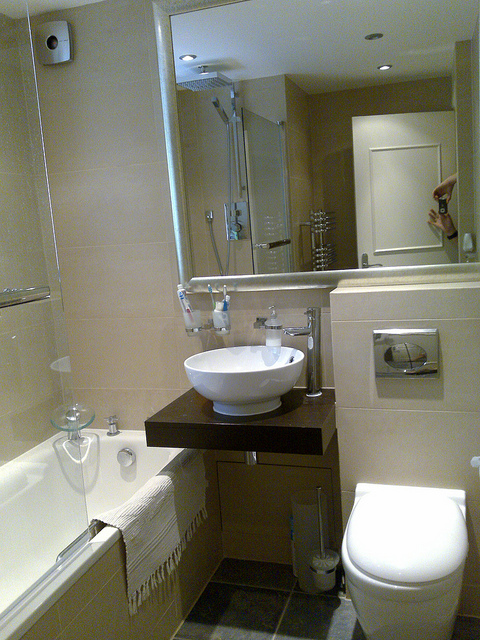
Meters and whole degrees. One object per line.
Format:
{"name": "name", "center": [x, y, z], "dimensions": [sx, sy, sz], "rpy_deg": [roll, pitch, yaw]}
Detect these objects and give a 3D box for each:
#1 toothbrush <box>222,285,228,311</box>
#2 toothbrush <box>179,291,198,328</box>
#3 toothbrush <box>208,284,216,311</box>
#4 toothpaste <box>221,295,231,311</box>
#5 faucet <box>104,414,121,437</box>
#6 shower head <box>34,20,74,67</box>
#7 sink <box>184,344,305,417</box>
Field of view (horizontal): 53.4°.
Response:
{"name": "toothbrush", "center": [-0.056, -0.078, 1.776], "dimensions": [0.018, 0.090, 0.039], "rpy_deg": [-4, 10, 10]}
{"name": "toothbrush", "center": [-0.183, -0.031, 1.786], "dimensions": [0.028, 0.197, 0.019], "rpy_deg": [-25, 45, -3]}
{"name": "toothbrush", "center": [-0.109, -0.090, 1.863], "dimensions": [0.025, 0.133, 0.013], "rpy_deg": [-16, 30, -21]}
{"name": "toothpaste", "center": [-0.043, -0.068, 1.809], "dimensions": [0.034, 0.051, 0.051], "rpy_deg": [-4, 14, 6]}
{"name": "faucet", "center": [-0.573, 0.482, 2.201], "dimensions": [0.074, 0.101, 0.080], "rpy_deg": [-2, 2, 30]}
{"name": "shower head", "center": [-0.763, -1.139, 1.962], "dimensions": [0.181, 0.162, 0.033], "rpy_deg": [-2, 10, 22]}
{"name": "sink", "center": [0.007, 0.209, 1.616], "dimensions": [0.365, 0.181, 0.392], "rpy_deg": [-7, 7, 0]}
